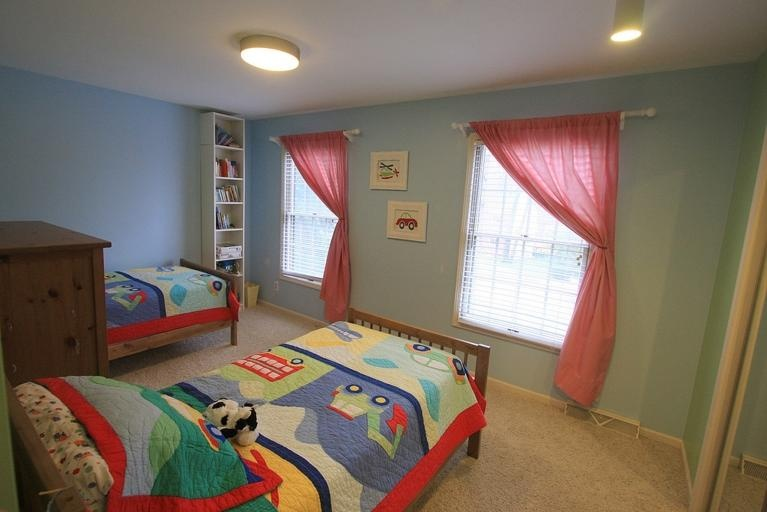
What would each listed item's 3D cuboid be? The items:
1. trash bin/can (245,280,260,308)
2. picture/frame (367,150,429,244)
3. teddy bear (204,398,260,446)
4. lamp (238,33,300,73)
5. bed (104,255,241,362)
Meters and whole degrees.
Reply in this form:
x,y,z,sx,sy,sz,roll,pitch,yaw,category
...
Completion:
x,y,z,sx,sy,sz,roll,pitch,yaw,category
-1.793,0.514,6.710,0.150,0.286,0.219,6,9,27,trash bin/can
0.177,-0.653,5.296,0.937,1.059,0.074,7,9,35,picture/frame
-0.932,1.011,3.066,0.272,0.142,0.264,16,41,-25,teddy bear
-0.886,-1.592,3.897,0.453,0.185,0.272,0,8,-19,lamp
-2.189,0.540,5.054,1.040,0.487,1.047,16,19,42,bed
